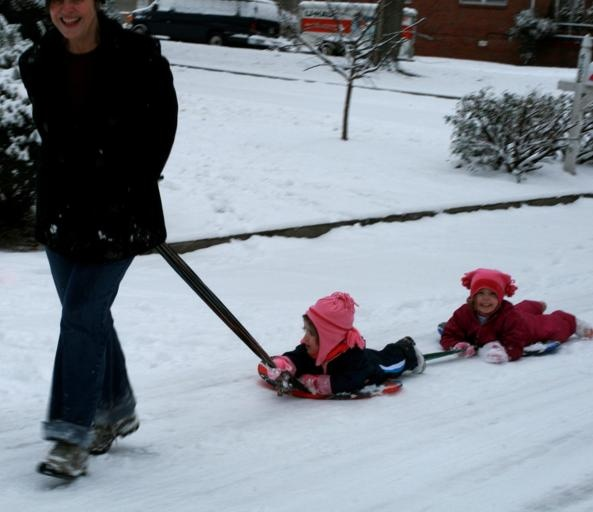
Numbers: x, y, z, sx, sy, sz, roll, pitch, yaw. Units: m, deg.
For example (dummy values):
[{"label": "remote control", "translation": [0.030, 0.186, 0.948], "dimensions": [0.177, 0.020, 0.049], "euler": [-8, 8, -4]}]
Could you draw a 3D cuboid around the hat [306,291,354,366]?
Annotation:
[{"label": "hat", "translation": [0.188, 0.402, 4.303], "dimensions": [0.273, 0.380, 0.218], "euler": [0, 24, -13]}]

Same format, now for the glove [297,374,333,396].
[{"label": "glove", "translation": [0.107, 0.707, 4.253], "dimensions": [0.210, 0.115, 0.055], "euler": [11, 24, 19]}]

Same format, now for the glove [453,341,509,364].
[{"label": "glove", "translation": [1.164, 0.604, 4.828], "dimensions": [0.221, 0.052, 0.163], "euler": [-1, 2, 36]}]

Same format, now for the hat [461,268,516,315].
[{"label": "hat", "translation": [1.257, 0.210, 5.060], "dimensions": [0.379, 0.219, 0.339], "euler": [5, -19, 31]}]

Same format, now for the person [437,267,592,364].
[{"label": "person", "translation": [1.384, 0.406, 5.084], "dimensions": [1.080, 0.363, 0.589], "euler": [3, -3, -32]}]

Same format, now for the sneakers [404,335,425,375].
[{"label": "sneakers", "translation": [0.681, 0.601, 4.615], "dimensions": [0.095, 0.187, 0.164], "euler": [-21, -17, 1]}]
